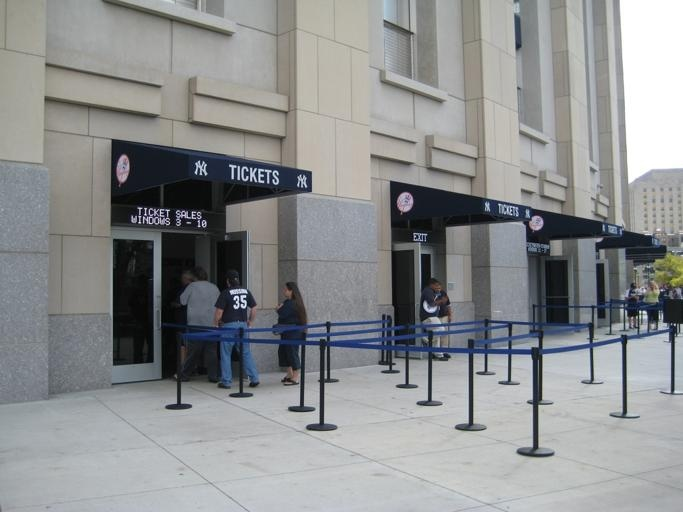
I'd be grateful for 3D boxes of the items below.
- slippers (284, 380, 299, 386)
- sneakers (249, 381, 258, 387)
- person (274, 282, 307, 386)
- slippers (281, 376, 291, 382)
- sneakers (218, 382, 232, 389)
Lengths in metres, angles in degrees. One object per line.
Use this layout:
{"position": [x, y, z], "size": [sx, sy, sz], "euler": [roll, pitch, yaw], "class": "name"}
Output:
{"position": [-1.027, 2.562, 13.703], "size": [0.341, 0.078, 0.163], "euler": [0, -3, -36], "class": "slippers"}
{"position": [-1.751, 2.549, 13.423], "size": [0.072, 0.095, 0.205], "euler": [6, -16, -38], "class": "sneakers"}
{"position": [-1.021, 1.569, 13.709], "size": [0.568, 2.066, 1.564], "euler": [-1, -3, -6], "class": "person"}
{"position": [-1.164, 2.527, 13.837], "size": [0.081, 0.095, 0.240], "euler": [2, -1, -23], "class": "slippers"}
{"position": [-2.316, 2.544, 13.341], "size": [0.279, 0.122, 0.103], "euler": [4, 0, 43], "class": "sneakers"}
